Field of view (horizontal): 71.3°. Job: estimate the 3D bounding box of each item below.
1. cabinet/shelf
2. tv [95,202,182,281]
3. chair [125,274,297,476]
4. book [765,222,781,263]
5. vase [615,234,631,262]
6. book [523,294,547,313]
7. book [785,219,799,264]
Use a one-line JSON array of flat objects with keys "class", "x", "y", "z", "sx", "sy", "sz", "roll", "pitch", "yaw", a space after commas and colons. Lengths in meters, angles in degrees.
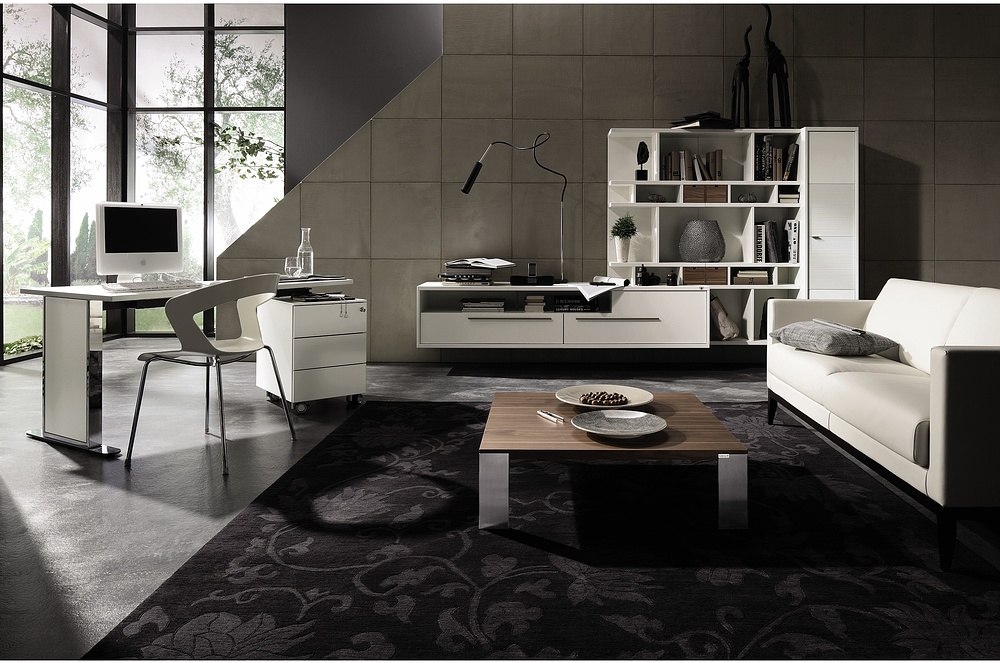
[{"class": "cabinet/shelf", "x": 1.539, "y": -0.860, "z": 7.033, "sx": 4.451, "sy": 1.941, "sz": 0.798, "roll": 1, "pitch": 5, "yaw": 26}, {"class": "tv", "x": -2.509, "y": -0.599, "z": 4.739, "sx": 0.217, "sy": 0.525, "sz": 0.636, "roll": 7, "pitch": 10, "yaw": 22}, {"class": "chair", "x": -1.867, "y": 0.232, "z": 4.542, "sx": 0.904, "sy": 1.141, "sz": 0.880, "roll": 3, "pitch": 8, "yaw": 24}, {"class": "book", "x": 2.639, "y": -0.865, "z": 6.719, "sx": 0.081, "sy": 0.305, "sz": 0.327, "roll": -4, "pitch": 4, "yaw": 11}, {"class": "vase", "x": 1.190, "y": -0.807, "z": 6.753, "sx": 0.237, "sy": 0.245, "sz": 0.217, "roll": -1, "pitch": 0, "yaw": -1}, {"class": "book", "x": 0.337, "y": -0.264, "z": 6.733, "sx": 0.162, "sy": 0.039, "sz": 0.167, "roll": 2, "pitch": 33, "yaw": 6}, {"class": "book", "x": 2.823, "y": -0.851, "z": 6.693, "sx": 0.081, "sy": 0.313, "sz": 0.324, "roll": 0, "pitch": 2, "yaw": 9}]
